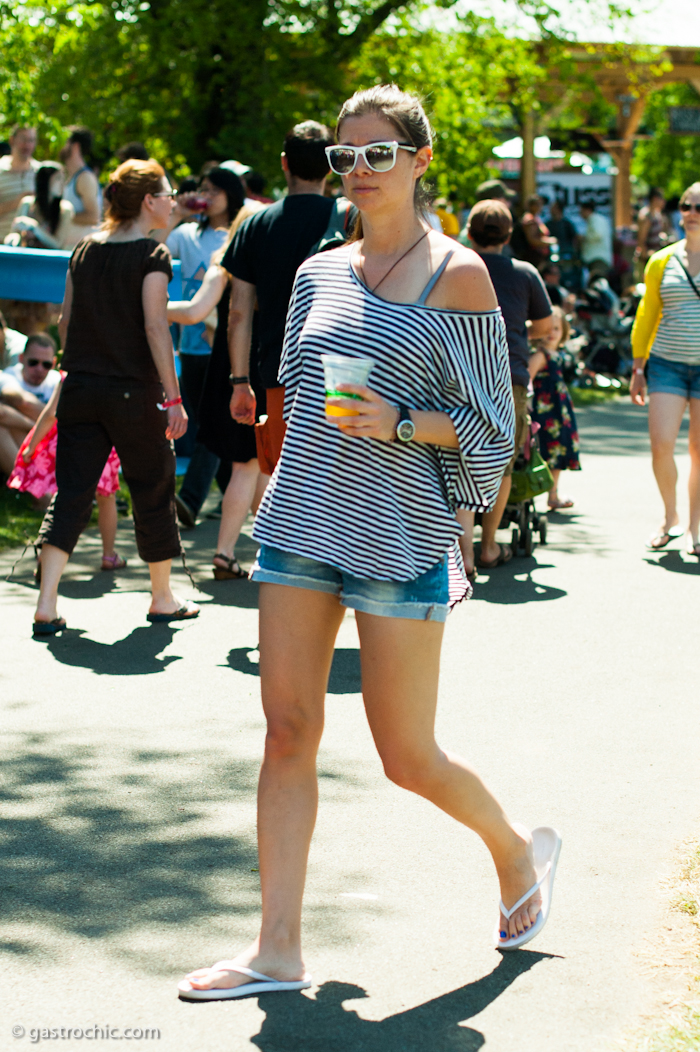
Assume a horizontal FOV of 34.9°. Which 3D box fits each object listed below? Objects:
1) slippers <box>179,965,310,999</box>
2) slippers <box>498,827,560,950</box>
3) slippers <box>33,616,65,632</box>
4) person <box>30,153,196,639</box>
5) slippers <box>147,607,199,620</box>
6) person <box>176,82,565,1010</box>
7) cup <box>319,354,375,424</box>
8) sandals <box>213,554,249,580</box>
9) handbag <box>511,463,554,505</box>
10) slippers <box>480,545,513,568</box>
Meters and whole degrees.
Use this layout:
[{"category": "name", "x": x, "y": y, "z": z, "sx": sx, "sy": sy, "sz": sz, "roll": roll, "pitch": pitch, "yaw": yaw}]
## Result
[{"category": "slippers", "x": -0.206, "y": 0.877, "z": 2.204, "sx": 0.254, "sy": 0.067, "sz": 0.088, "roll": 2, "pitch": -4, "yaw": -11}, {"category": "slippers", "x": 0.432, "y": 0.807, "z": 2.546, "sx": 0.124, "sy": 0.292, "sz": 0.072, "roll": -10, "pitch": -48, "yaw": 41}, {"category": "slippers", "x": -1.449, "y": 0.480, "z": 5.359, "sx": 0.064, "sy": 0.059, "sz": 0.161, "roll": -1, "pitch": -5, "yaw": 1}, {"category": "person", "x": -1.139, "y": -0.593, "z": 5.301, "sx": 0.703, "sy": 2.253, "sz": 0.476, "roll": 0, "pitch": 5, "yaw": -9}, {"category": "slippers", "x": -0.895, "y": 0.448, "z": 5.639, "sx": 0.240, "sy": 0.062, "sz": 0.089, "roll": -4, "pitch": 3, "yaw": -16}, {"category": "person", "x": 0.061, "y": 0.026, "z": 2.260, "sx": 0.516, "sy": 1.851, "sz": 0.631, "roll": 4, "pitch": 6, "yaw": 28}, {"category": "cup", "x": -0.004, "y": -0.242, "z": 1.996, "sx": 0.083, "sy": 0.117, "sz": 0.149, "roll": 1, "pitch": 5, "yaw": 2}, {"category": "sandals", "x": -0.698, "y": 0.235, "z": 6.481, "sx": 0.106, "sy": 0.120, "sz": 0.303, "roll": 3, "pitch": 9, "yaw": 19}, {"category": "handbag", "x": 1.173, "y": -0.287, "z": 7.231, "sx": 0.250, "sy": 0.393, "sz": 0.305, "roll": -5, "pitch": 12, "yaw": 7}, {"category": "slippers", "x": 0.952, "y": 0.178, "z": 7.199, "sx": 0.117, "sy": 0.140, "sz": 0.224, "roll": 7, "pitch": 23, "yaw": 29}]
